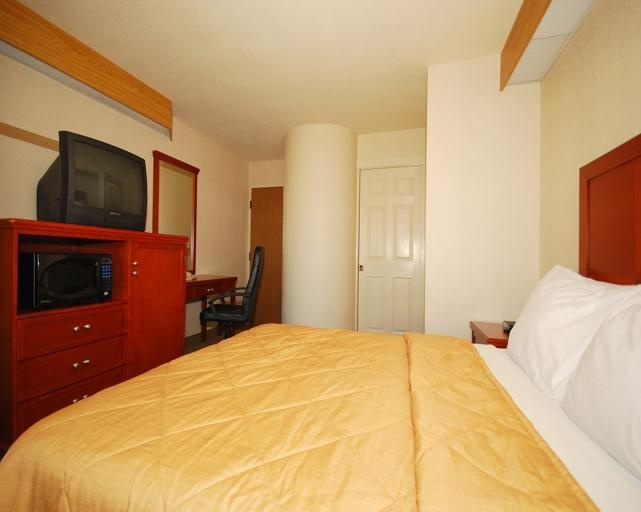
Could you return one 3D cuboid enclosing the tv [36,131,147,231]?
[{"bbox_3d":[-1.641,-0.426,3.051,0.618,0.619,0.640,1,1,12],"label":"tv"}]

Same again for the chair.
[{"bbox_3d":[-0.821,0.403,4.121,0.488,1.013,0.573,6,2,-5],"label":"chair"}]

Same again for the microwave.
[{"bbox_3d":[-1.611,0.142,2.704,0.279,0.321,0.431,0,-1,19],"label":"microwave"}]

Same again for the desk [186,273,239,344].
[{"bbox_3d":[-1.247,0.461,4.477,0.392,0.489,0.755,2,5,33],"label":"desk"}]
